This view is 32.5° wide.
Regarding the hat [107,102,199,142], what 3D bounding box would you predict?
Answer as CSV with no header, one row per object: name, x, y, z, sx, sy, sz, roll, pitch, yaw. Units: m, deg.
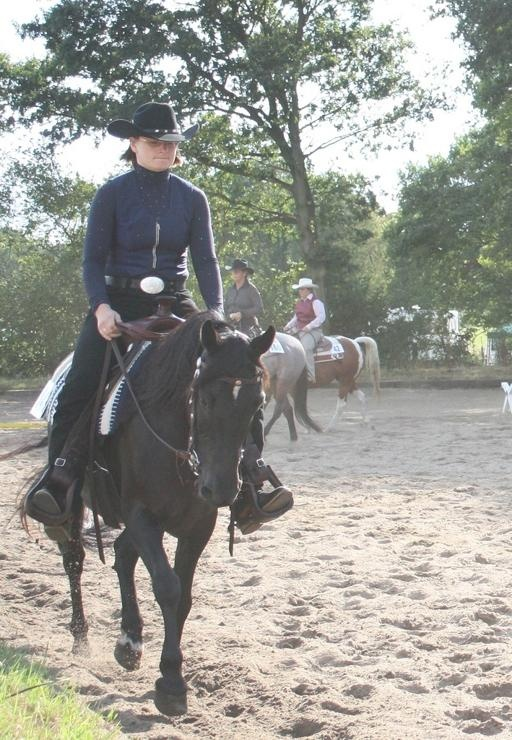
hat,-0.484,-1.104,3.928,0.347,0.157,0.169,-1,0,-9

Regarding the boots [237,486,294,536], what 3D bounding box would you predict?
boots,0.027,0.569,3.886,0.291,0.094,0.189,-27,24,23

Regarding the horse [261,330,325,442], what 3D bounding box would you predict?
horse,0.535,0.181,12.333,0.596,1.334,2.294,18,13,8

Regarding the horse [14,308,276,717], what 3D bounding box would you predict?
horse,-0.535,0.593,4.369,0.703,1.581,2.636,3,-1,-21
